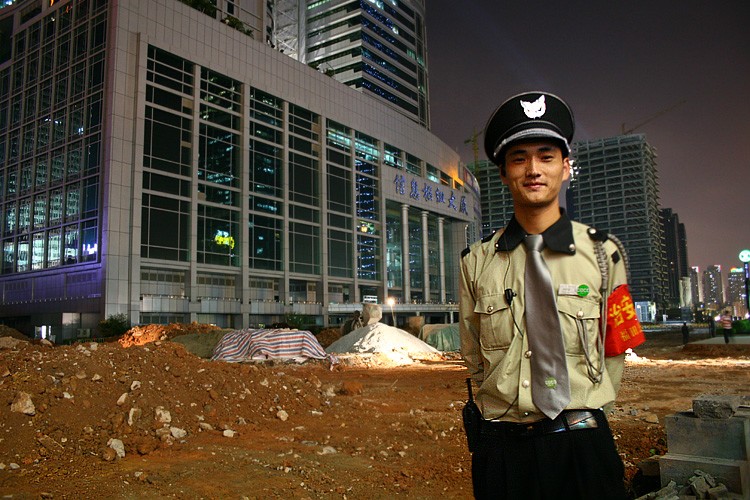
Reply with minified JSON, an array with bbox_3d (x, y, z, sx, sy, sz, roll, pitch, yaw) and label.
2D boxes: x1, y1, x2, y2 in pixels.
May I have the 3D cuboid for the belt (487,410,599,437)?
[{"bbox_3d":[1.397,1.457,4.390,0.959,0.261,0.089,1,-5,10],"label":"belt"}]

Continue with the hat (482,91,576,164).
[{"bbox_3d":[1.504,-1.131,4.885,0.776,0.431,0.969,-4,-3,20],"label":"hat"}]
